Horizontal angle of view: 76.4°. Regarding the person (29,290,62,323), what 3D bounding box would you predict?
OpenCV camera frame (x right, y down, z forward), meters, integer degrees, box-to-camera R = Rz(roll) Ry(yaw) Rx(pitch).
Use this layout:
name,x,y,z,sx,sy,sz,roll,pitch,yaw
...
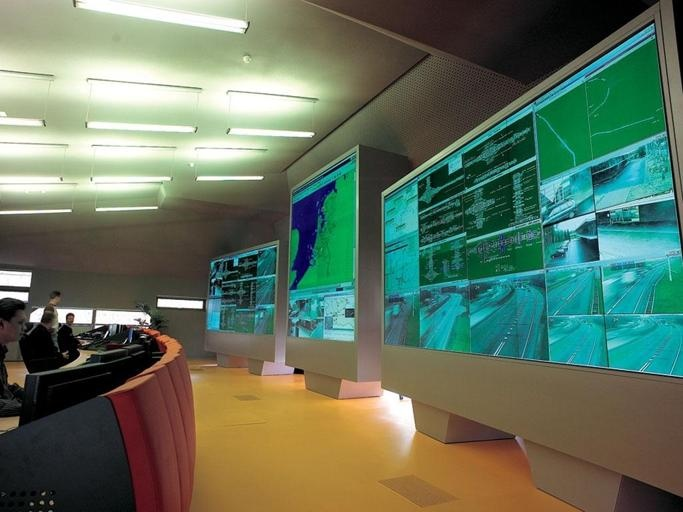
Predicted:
name,x,y,z,sx,sy,sz,roll,pitch,yaw
person,-7.090,1.156,10.269,1.302,0.923,0.310,-7,-13,37
